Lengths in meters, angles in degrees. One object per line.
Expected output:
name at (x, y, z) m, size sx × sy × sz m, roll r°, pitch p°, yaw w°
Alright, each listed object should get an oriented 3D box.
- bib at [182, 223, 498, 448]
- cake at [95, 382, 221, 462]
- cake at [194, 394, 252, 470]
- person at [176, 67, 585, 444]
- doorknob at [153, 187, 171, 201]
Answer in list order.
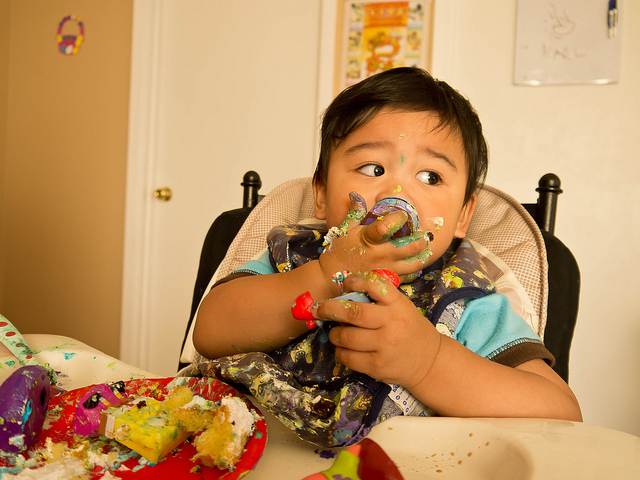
bib at (0.061, 0.159, 1.152) m, size 0.600 × 0.369 × 0.465 m, roll 1°, pitch 8°, yaw -42°
cake at (-0.278, 0.262, 0.848) m, size 0.125 × 0.041 × 0.128 m, roll 13°, pitch 24°, yaw 29°
cake at (-0.160, 0.315, 0.860) m, size 0.079 × 0.046 × 0.136 m, roll 4°, pitch 29°, yaw -3°
person at (0.143, -0.026, 1.129) m, size 0.823 × 0.759 × 0.541 m, roll 7°, pitch 6°, yaw 4°
doorknob at (-0.838, -0.246, 2.784) m, size 0.091 × 0.073 × 0.029 m, roll 6°, pitch 6°, yaw -8°
